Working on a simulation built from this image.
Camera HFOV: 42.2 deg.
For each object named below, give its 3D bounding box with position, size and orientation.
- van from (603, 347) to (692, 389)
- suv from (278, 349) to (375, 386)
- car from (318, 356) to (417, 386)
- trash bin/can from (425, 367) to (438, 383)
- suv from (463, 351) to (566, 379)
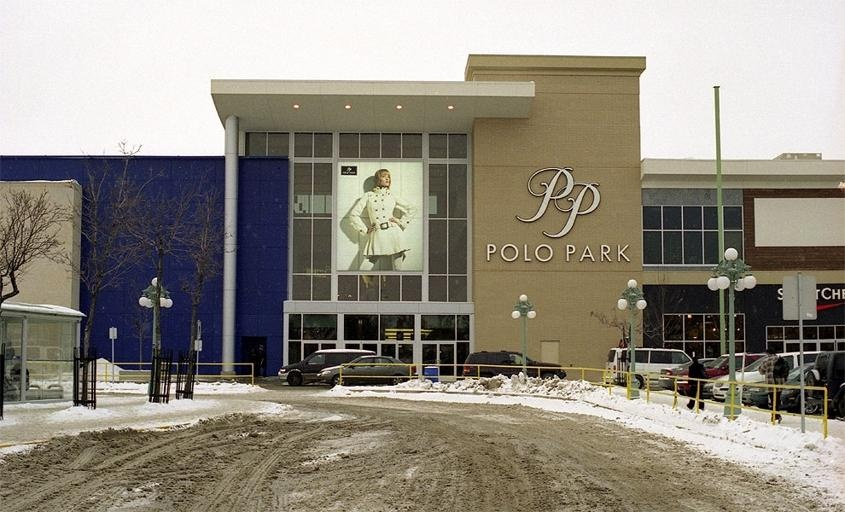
[{"bbox_3d":[12.604,6.307,62.055,5.812,2.232,2.460,1,-5,-13],"label":"van"},{"bbox_3d":[-6.074,6.717,66.640,5.283,1.777,2.423,0,-5,4],"label":"suv"},{"bbox_3d":[-3.401,6.862,65.368,4.825,1.611,2.182,2,-7,-5],"label":"car"},{"bbox_3d":[0.572,7.480,70.117,0.776,0.784,1.429,-1,-7,2],"label":"trash bin/can"},{"bbox_3d":[4.954,7.049,66.020,7.083,2.364,3.305,0,-2,-2],"label":"suv"}]
